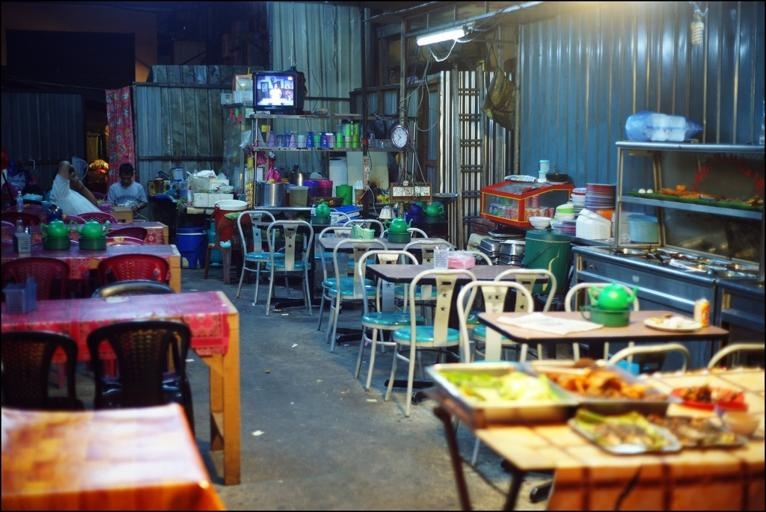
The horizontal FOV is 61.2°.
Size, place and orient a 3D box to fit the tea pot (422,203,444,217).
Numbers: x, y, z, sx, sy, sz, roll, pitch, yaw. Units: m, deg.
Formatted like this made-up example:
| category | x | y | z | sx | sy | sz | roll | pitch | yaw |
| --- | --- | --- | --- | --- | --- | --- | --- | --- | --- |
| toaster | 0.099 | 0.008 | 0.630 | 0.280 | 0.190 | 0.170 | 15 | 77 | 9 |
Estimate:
| category | x | y | z | sx | sy | sz | roll | pitch | yaw |
| --- | --- | --- | --- | --- | --- | --- | --- | --- | --- |
| tea pot | 0.711 | -0.639 | 8.913 | 0.242 | 0.170 | 0.156 | 2 | 1 | -4 |

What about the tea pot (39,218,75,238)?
| category | x | y | z | sx | sy | sz | roll | pitch | yaw |
| --- | --- | --- | --- | --- | --- | --- | --- | --- | --- |
| tea pot | -3.082 | -0.231 | 6.227 | 0.367 | 0.214 | 0.244 | 3 | -2 | -25 |

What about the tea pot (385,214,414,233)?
| category | x | y | z | sx | sy | sz | roll | pitch | yaw |
| --- | --- | --- | --- | --- | --- | --- | --- | --- | --- |
| tea pot | 0.141 | -0.361 | 7.448 | 0.315 | 0.231 | 0.223 | -7 | -9 | 41 |

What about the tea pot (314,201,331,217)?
| category | x | y | z | sx | sy | sz | roll | pitch | yaw |
| --- | --- | --- | --- | --- | --- | --- | --- | --- | --- |
| tea pot | -0.835 | -0.681 | 9.060 | 0.224 | 0.240 | 0.236 | 2 | -3 | 0 |

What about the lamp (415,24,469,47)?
| category | x | y | z | sx | sy | sz | roll | pitch | yaw |
| --- | --- | --- | --- | --- | --- | --- | --- | --- | --- |
| lamp | 0.705 | -2.697 | 7.937 | 0.573 | 0.137 | 0.533 | -5 | 3 | -17 |

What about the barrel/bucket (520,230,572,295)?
| category | x | y | z | sx | sy | sz | roll | pitch | yaw |
| --- | --- | --- | --- | --- | --- | --- | --- | --- | --- |
| barrel/bucket | 1.690 | 0.021 | 6.614 | 0.637 | 0.683 | 0.458 | 1 | 2 | 18 |

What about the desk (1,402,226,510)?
| category | x | y | z | sx | sy | sz | roll | pitch | yaw |
| --- | --- | --- | --- | --- | --- | --- | --- | --- | --- |
| desk | -1.147 | 0.859 | 2.708 | 0.923 | 0.249 | 0.604 | -3 | 9 | -13 |

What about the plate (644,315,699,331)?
| category | x | y | z | sx | sy | sz | roll | pitch | yaw |
| --- | --- | --- | --- | --- | --- | --- | --- | --- | --- |
| plate | 1.792 | 0.414 | 3.972 | 0.329 | 0.053 | 0.232 | -1 | 8 | -4 |

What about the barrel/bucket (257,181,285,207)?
| category | x | y | z | sx | sy | sz | roll | pitch | yaw |
| --- | --- | --- | --- | --- | --- | --- | --- | --- | --- |
| barrel/bucket | -1.648 | -0.901 | 9.592 | 0.403 | 0.309 | 0.307 | 0 | 5 | -10 |

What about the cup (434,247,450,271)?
| category | x | y | z | sx | sy | sz | roll | pitch | yaw |
| --- | --- | --- | --- | --- | --- | --- | --- | --- | --- |
| cup | 0.488 | 0.024 | 5.534 | 0.157 | 0.169 | 0.163 | 1 | 9 | 0 |

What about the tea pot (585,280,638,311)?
| category | x | y | z | sx | sy | sz | roll | pitch | yaw |
| --- | --- | --- | --- | --- | --- | --- | --- | --- | --- |
| tea pot | 1.462 | 0.261 | 4.127 | 0.273 | 0.179 | 0.296 | -1 | 8 | 0 |

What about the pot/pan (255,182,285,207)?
| category | x | y | z | sx | sy | sz | roll | pitch | yaw |
| --- | --- | --- | --- | --- | --- | --- | --- | --- | --- |
| pot/pan | -1.664 | -0.905 | 9.572 | 0.414 | 0.304 | 0.314 | 0 | 5 | -11 |

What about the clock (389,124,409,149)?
| category | x | y | z | sx | sy | sz | roll | pitch | yaw |
| --- | --- | --- | --- | --- | --- | --- | --- | --- | --- |
| clock | 0.271 | -1.888 | 10.220 | 0.303 | 0.357 | 0.127 | 13 | 20 | 34 |

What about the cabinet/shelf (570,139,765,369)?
| category | x | y | z | sx | sy | sz | roll | pitch | yaw |
| --- | --- | --- | --- | --- | --- | --- | --- | --- | --- |
| cabinet/shelf | 2.480 | -0.240 | 5.321 | 0.746 | 1.409 | 1.928 | -4 | 9 | -18 |

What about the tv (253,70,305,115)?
| category | x | y | z | sx | sy | sz | roll | pitch | yaw |
| --- | --- | --- | --- | --- | --- | --- | --- | --- | --- |
| tv | -1.574 | -2.508 | 10.132 | 0.891 | 0.862 | 0.629 | 0 | 4 | -7 |

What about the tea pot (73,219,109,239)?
| category | x | y | z | sx | sy | sz | roll | pitch | yaw |
| --- | --- | --- | --- | --- | --- | --- | --- | --- | --- |
| tea pot | -2.802 | -0.242 | 6.152 | 0.316 | 0.180 | 0.216 | 5 | 1 | -2 |

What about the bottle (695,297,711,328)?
| category | x | y | z | sx | sy | sz | roll | pitch | yaw |
| --- | --- | --- | --- | --- | --- | --- | --- | --- | --- |
| bottle | 1.967 | 0.356 | 3.991 | 0.076 | 0.146 | 0.174 | 3 | 9 | 26 |

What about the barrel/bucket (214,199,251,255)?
| category | x | y | z | sx | sy | sz | roll | pitch | yaw |
| --- | --- | --- | --- | --- | --- | --- | --- | --- | --- |
| barrel/bucket | -2.341 | -0.422 | 9.965 | 0.590 | 0.917 | 0.843 | 0 | 10 | -8 |

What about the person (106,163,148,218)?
| category | x | y | z | sx | sy | sz | roll | pitch | yaw |
| --- | --- | --- | --- | --- | --- | --- | --- | --- | --- |
| person | -4.056 | -0.955 | 10.262 | 0.604 | 0.966 | 0.522 | -3 | 19 | -28 |

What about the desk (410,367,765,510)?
| category | x | y | z | sx | sy | sz | roll | pitch | yaw |
| --- | --- | --- | --- | --- | --- | --- | --- | --- | --- |
| desk | 0.936 | 0.853 | 2.741 | 1.415 | 0.610 | 0.537 | 0 | 9 | 6 |

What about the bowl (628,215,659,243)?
| category | x | y | z | sx | sy | sz | roll | pitch | yaw |
| --- | --- | --- | --- | --- | --- | --- | --- | --- | --- |
| bowl | 2.433 | -0.246 | 6.048 | 0.266 | 0.272 | 0.211 | -2 | 5 | -3 |

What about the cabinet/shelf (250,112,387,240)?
| category | x | y | z | sx | sy | sz | roll | pitch | yaw |
| --- | --- | --- | --- | --- | --- | --- | --- | --- | --- |
| cabinet/shelf | -0.965 | -1.260 | 10.265 | 2.377 | 1.755 | 1.328 | -1 | 13 | -6 |

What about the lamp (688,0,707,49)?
| category | x | y | z | sx | sy | sz | roll | pitch | yaw |
| --- | --- | --- | --- | --- | --- | --- | --- | --- | --- |
| lamp | 2.841 | -2.108 | 5.822 | 0.145 | 0.434 | 0.778 | 3 | 9 | 25 |

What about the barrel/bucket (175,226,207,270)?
| category | x | y | z | sx | sy | sz | roll | pitch | yaw |
| --- | --- | --- | --- | --- | --- | --- | --- | --- | --- |
| barrel/bucket | -3.015 | -0.152 | 10.180 | 0.524 | 0.601 | 0.563 | 0 | 11 | 0 |
